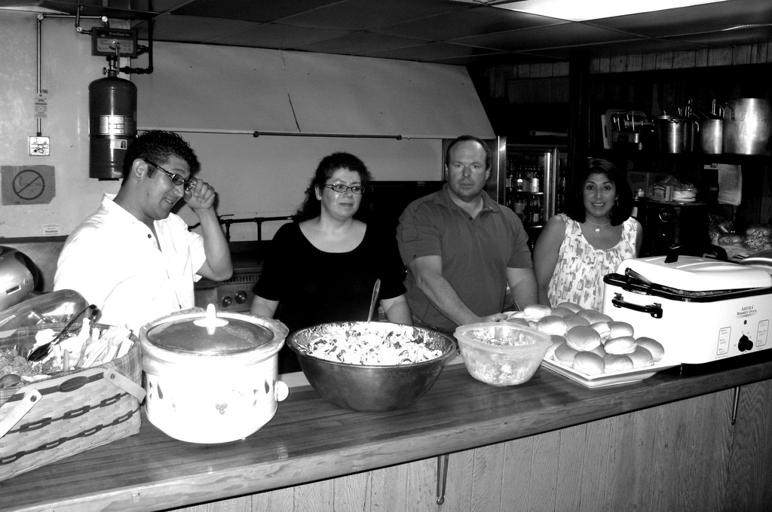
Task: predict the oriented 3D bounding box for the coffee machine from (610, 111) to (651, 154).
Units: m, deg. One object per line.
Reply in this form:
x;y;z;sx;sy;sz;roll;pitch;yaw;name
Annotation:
2.372;-1.201;5.656;0.360;0.483;0.512;1;2;4;coffee machine

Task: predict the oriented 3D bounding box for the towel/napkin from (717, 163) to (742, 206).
3.372;-0.689;5.587;0.244;0.411;0.125;0;12;12;towel/napkin

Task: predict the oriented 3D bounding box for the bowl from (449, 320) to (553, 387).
0.435;0.379;2.150;0.350;0.200;0.251;-2;11;1;bowl

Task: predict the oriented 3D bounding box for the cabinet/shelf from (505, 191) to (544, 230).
1.634;-0.541;6.488;0.463;0.430;0.267;2;4;33;cabinet/shelf

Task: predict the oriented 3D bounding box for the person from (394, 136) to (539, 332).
0.496;-0.102;3.143;0.723;1.017;0.769;0;6;-13;person

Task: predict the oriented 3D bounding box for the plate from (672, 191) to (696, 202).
2.747;-0.543;5.271;0.178;0.103;0.113;3;13;26;plate

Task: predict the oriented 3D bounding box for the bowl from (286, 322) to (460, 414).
-0.049;0.388;1.983;0.576;0.238;0.359;-1;11;6;bowl

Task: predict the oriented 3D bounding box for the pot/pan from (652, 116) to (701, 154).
2.648;-1.110;5.250;0.398;0.346;0.352;8;15;42;pot/pan

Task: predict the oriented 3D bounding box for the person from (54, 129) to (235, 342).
-1.132;0.053;2.654;0.464;1.171;0.772;6;6;43;person

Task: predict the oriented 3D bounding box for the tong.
-1.003;0.245;1.770;0.073;0.080;0.254;33;41;6;tong

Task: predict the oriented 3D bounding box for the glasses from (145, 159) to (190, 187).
-0.929;-0.376;2.470;0.117;0.036;0.114;38;6;29;glasses

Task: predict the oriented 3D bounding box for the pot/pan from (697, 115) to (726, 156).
2.863;-1.057;5.014;0.189;0.307;0.104;4;13;29;pot/pan
